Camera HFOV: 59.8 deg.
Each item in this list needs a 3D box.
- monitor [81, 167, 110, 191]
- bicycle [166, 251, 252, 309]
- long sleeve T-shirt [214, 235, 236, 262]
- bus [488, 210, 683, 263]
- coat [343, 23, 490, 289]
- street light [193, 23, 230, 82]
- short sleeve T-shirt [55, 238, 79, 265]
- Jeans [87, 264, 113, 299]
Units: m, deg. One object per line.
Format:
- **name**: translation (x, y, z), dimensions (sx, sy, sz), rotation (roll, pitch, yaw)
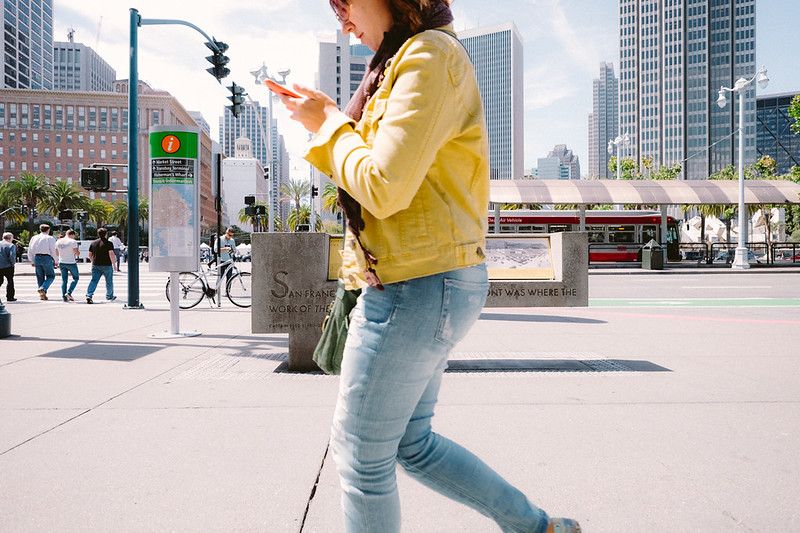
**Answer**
- **monitor**: translation (-7.042, -2.008, 16.002), dimensions (0.646, 0.677, 0.336), rotation (0, -2, -10)
- **bicycle**: translation (-4.030, 0.296, 15.121), dimensions (1.989, 1.252, 0.831), rotation (2, 19, -14)
- **long sleeve T-shirt**: translation (-4.141, -0.411, 16.308), dimensions (0.372, 0.698, 0.612), rotation (-2, -3, 42)
- **bus**: translation (9.967, -1.104, 37.471), dimensions (11.010, 3.094, 2.747), rotation (0, -15, 21)
- **coat**: translation (0.160, -0.575, 5.005), dimensions (1.256, 1.846, 1.608), rotation (1, -1, -5)
- **street light**: translation (-4.784, -5.237, 17.657), dimensions (0.698, 0.986, 0.646), rotation (-4, 5, -43)
- **short sleeve T-shirt**: translation (-8.579, -0.400, 17.805), dimensions (0.401, 0.760, 0.632), rotation (-2, -15, -1)
- **Jeans**: translation (-7.781, 0.412, 18.001), dimensions (0.751, 1.081, 0.374), rotation (5, -3, -23)
